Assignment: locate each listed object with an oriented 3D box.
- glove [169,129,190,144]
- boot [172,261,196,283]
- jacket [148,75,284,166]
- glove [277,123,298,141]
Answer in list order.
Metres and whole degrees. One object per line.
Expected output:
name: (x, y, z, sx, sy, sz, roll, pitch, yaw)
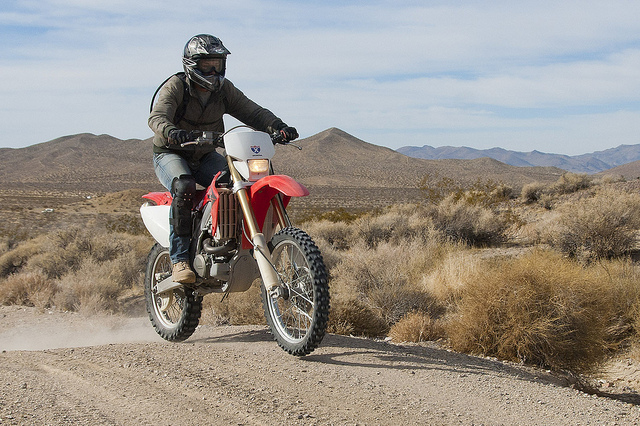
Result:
glove: (-2.055, -1.111, 8.896, 0.304, 0.194, 0.098, 5, 9, 20)
boot: (-2.066, 0.886, 9.209, 0.255, 0.304, 0.380, -3, 10, -31)
jacket: (-1.630, -1.502, 9.548, 2.281, 1.642, 2.437, 4, 7, 2)
glove: (-0.509, -1.254, 9.462, 0.274, 0.266, 0.632, -2, 9, -26)
